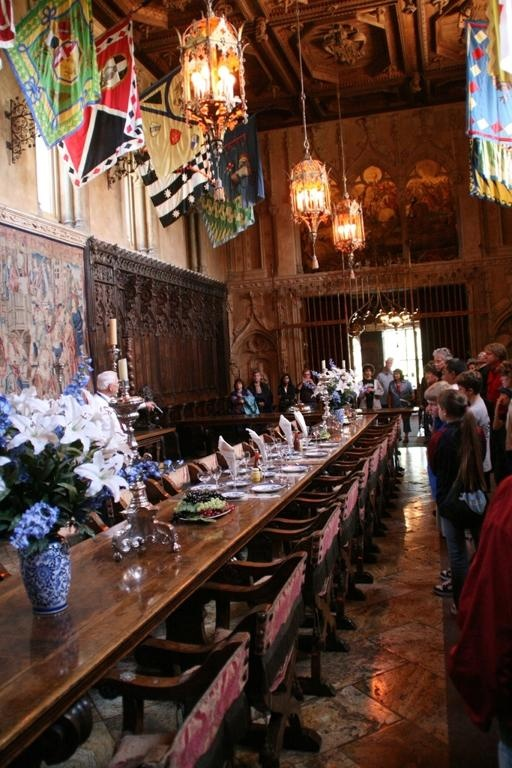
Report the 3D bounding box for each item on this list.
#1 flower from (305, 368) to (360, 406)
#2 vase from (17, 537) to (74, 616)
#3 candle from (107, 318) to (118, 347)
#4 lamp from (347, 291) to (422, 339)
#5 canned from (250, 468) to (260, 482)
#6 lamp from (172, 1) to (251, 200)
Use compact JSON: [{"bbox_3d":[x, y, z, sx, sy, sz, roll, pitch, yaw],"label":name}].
[{"bbox_3d":[1.039,0.053,8.389,0.617,0.705,0.627,-7,-9,39],"label":"flower"},{"bbox_3d":[-0.627,0.588,1.829,0.133,0.202,0.235,-4,-1,30],"label":"vase"},{"bbox_3d":[-0.583,-0.210,2.431,0.025,0.106,0.123,-3,-1,-8],"label":"candle"},{"bbox_3d":[2.828,-1.525,13.332,1.342,0.875,1.335,-5,5,-33],"label":"lamp"},{"bbox_3d":[-0.010,0.635,4.159,0.072,0.080,0.065,0,-1,27],"label":"canned"},{"bbox_3d":[-0.350,-2.457,4.783,0.505,1.447,0.312,-4,0,-5],"label":"lamp"}]
